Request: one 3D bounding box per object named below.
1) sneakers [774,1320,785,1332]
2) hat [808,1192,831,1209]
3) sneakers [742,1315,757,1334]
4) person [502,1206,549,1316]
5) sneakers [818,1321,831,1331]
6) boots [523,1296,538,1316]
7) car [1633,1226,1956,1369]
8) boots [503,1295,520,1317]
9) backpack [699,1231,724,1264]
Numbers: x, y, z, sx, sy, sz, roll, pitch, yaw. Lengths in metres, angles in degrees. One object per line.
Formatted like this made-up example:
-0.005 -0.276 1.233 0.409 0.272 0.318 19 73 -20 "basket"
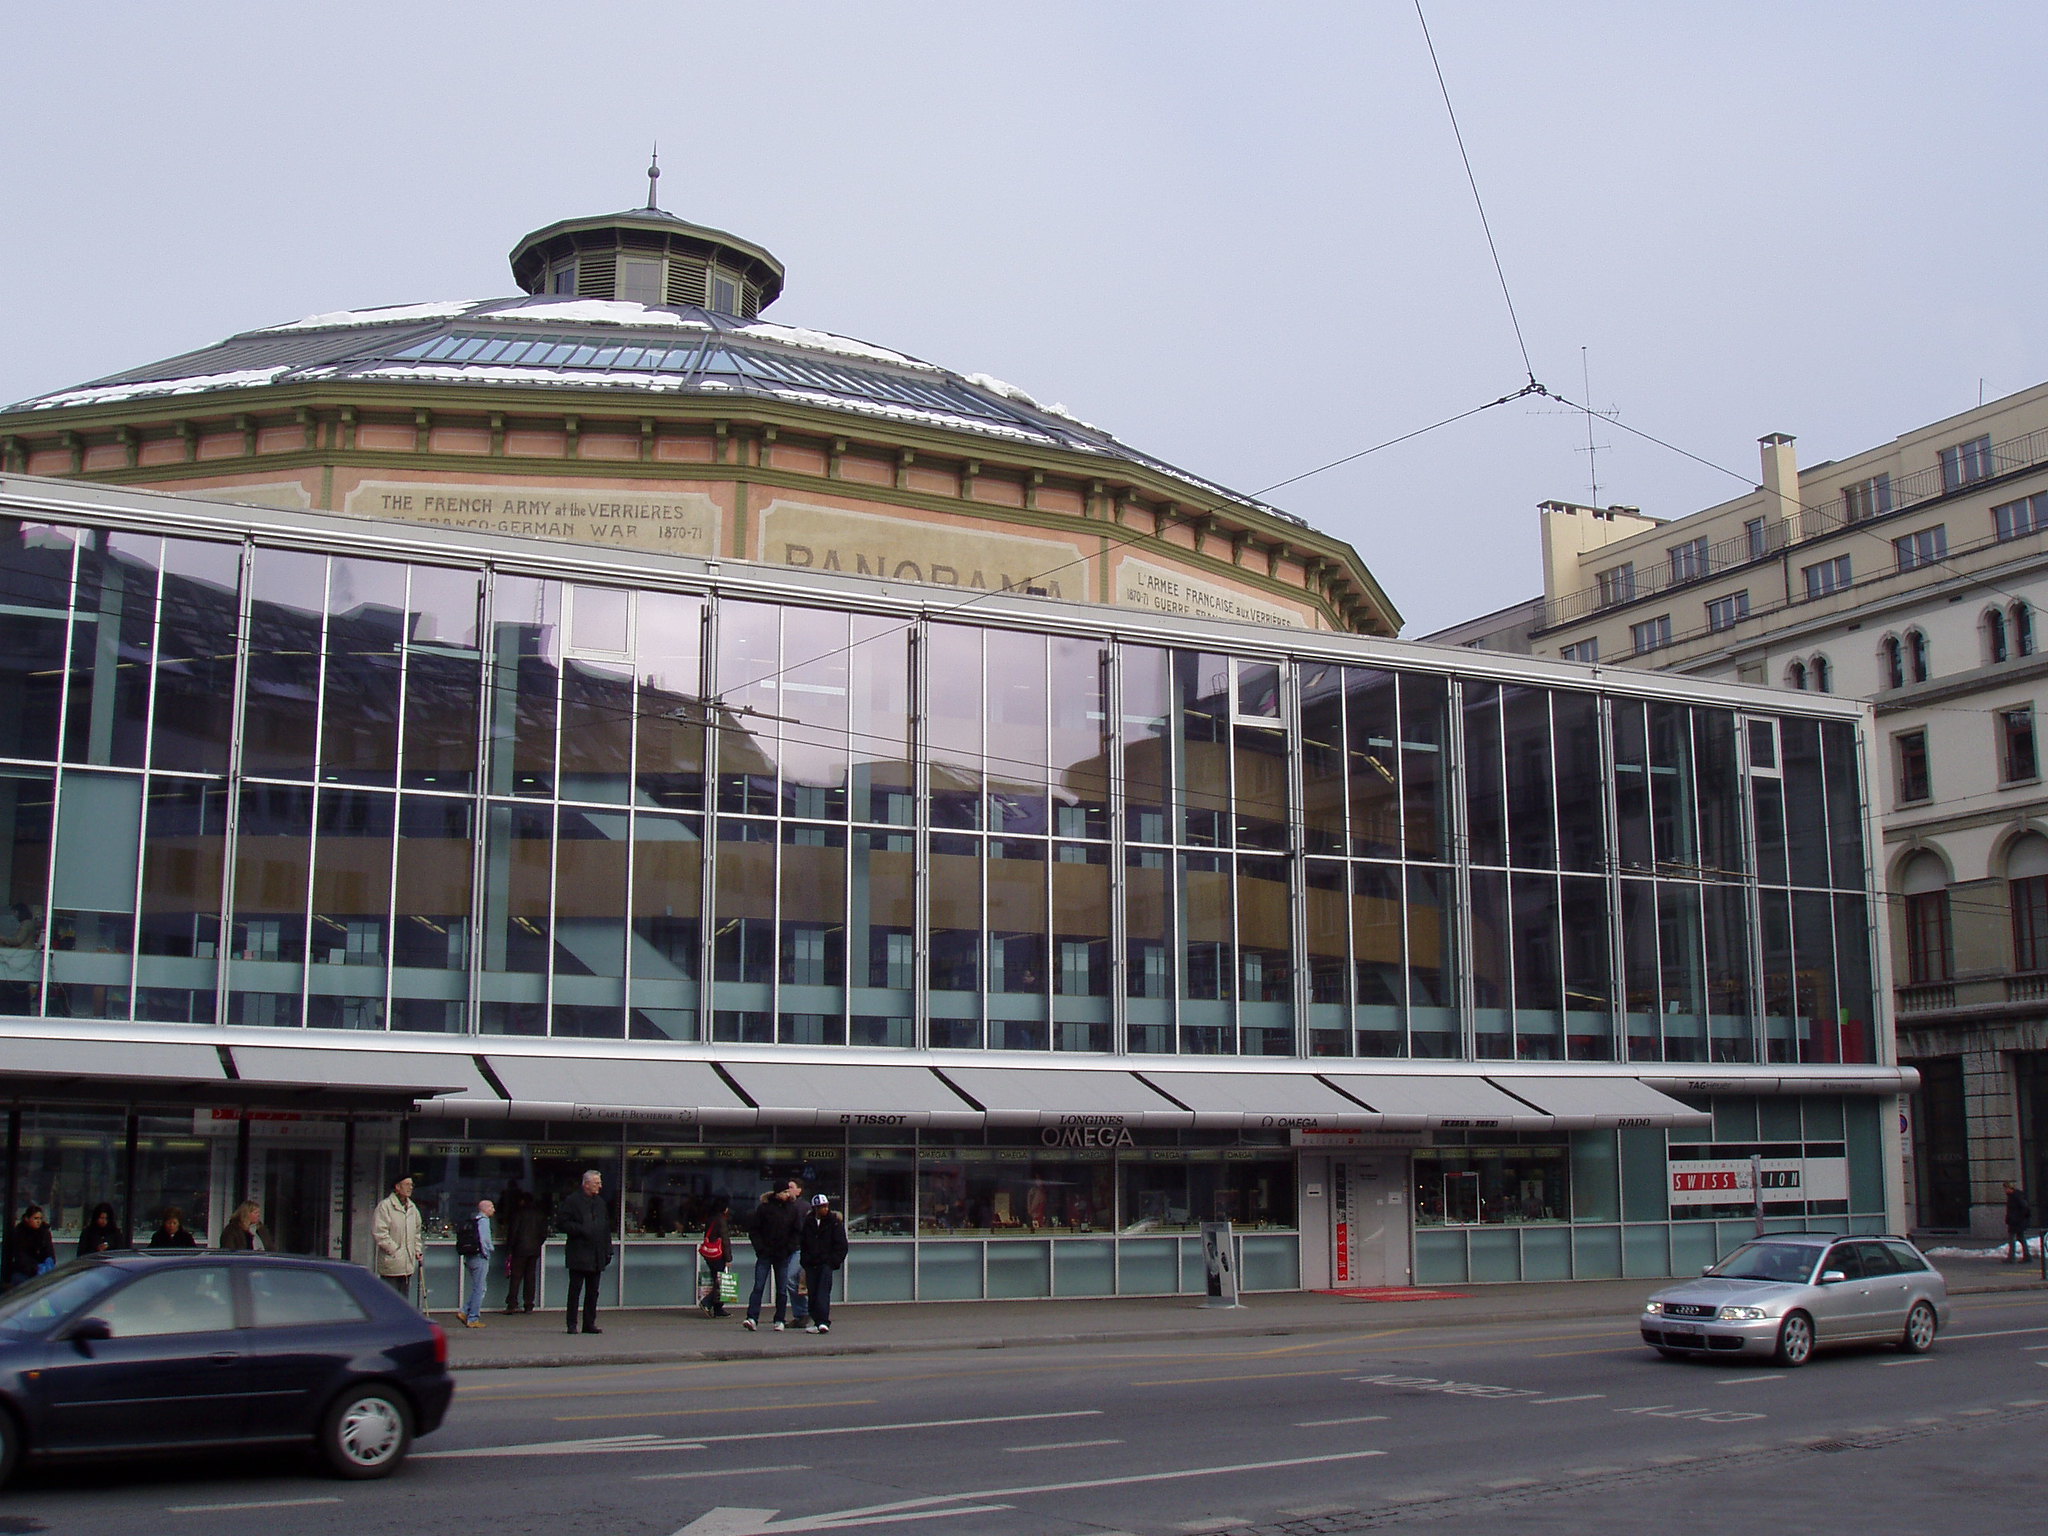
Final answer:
-3.604 8.328 35.376 0.209 0.187 0.186 3 -20 -10 "sneakers"
-3.073 6.603 36.404 0.445 0.165 0.602 -1 -13 -3 "hat"
-4.044 8.284 35.218 0.137 0.143 0.358 -2 -25 7 "sneakers"
-7.718 7.555 36.751 0.654 1.708 0.843 8 4 -11 "person"
-2.923 8.312 35.147 0.110 0.077 0.249 -10 -17 -20 "sneakers"
-7.631 8.387 36.916 0.169 0.259 0.151 3 -31 -15 "boots"
10.527 7.089 31.933 3.933 1.392 1.670 4 5 -34 "car"
-7.857 8.345 36.783 0.240 0.377 0.207 -8 -46 -2 "boots"
-4.803 7.478 36.988 0.372 0.518 0.241 8 4 -1 "backpack"
